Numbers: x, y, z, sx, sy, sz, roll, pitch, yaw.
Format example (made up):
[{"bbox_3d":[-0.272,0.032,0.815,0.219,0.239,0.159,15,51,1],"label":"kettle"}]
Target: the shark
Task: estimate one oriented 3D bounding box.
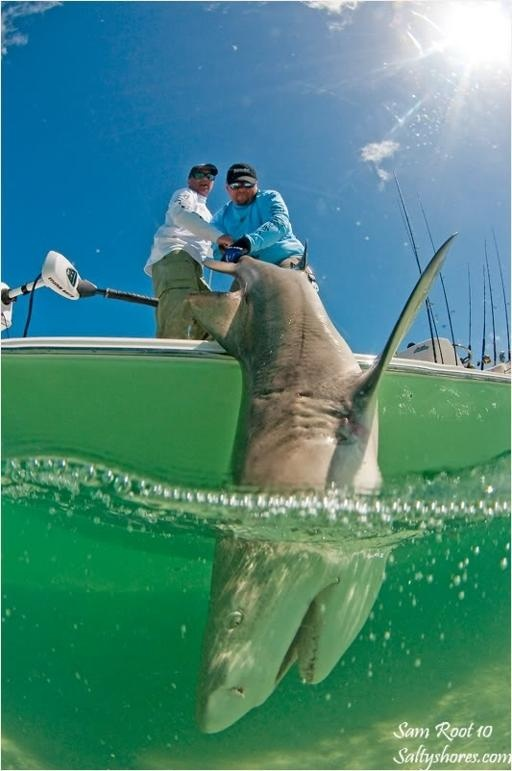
[{"bbox_3d":[0.361,0.700,4.634,1.612,2.964,1.189,5,-16,2],"label":"shark"}]
